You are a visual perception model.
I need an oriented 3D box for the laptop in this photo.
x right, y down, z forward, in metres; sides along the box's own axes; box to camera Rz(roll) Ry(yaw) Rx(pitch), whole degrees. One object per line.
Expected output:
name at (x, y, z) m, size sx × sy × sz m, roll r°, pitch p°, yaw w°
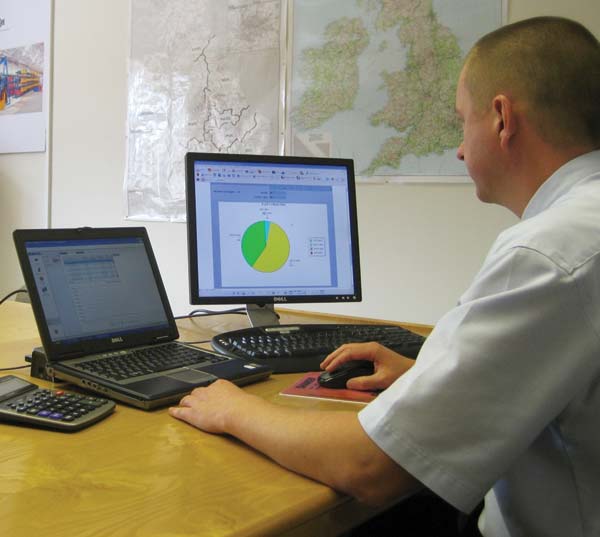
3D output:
laptop at (-0.305, 0.062, 1.088) m, size 0.385 × 0.282 × 0.334 m, roll 4°, pitch 5°, yaw 36°

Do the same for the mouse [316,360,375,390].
mouse at (0.090, 0.201, 1.079) m, size 0.099 × 0.028 × 0.049 m, roll -14°, pitch 13°, yaw -19°

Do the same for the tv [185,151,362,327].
tv at (-0.075, -0.081, 1.487) m, size 0.491 × 0.503 × 0.164 m, roll 0°, pitch -5°, yaw -19°
